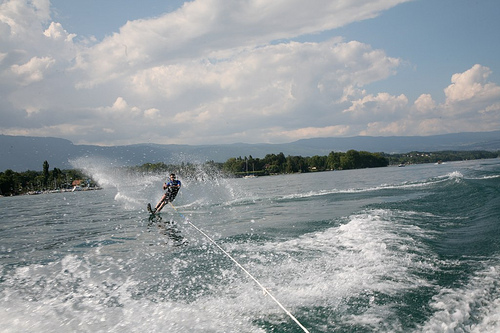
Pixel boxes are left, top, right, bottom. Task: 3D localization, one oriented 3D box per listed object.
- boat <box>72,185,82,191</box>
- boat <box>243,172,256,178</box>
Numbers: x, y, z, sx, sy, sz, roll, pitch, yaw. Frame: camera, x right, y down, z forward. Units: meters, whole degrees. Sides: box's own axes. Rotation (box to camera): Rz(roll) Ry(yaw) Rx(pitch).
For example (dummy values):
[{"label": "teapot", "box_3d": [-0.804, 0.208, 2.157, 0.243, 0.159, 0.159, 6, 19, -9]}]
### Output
[{"label": "boat", "box_3d": [-62.355, 7.699, 118.315, 2.602, 1.979, 7.007, -7, 1, -28]}, {"label": "boat", "box_3d": [0.122, 4.107, 162.238, 5.210, 2.714, 21.784, -7, 0, 2]}]
